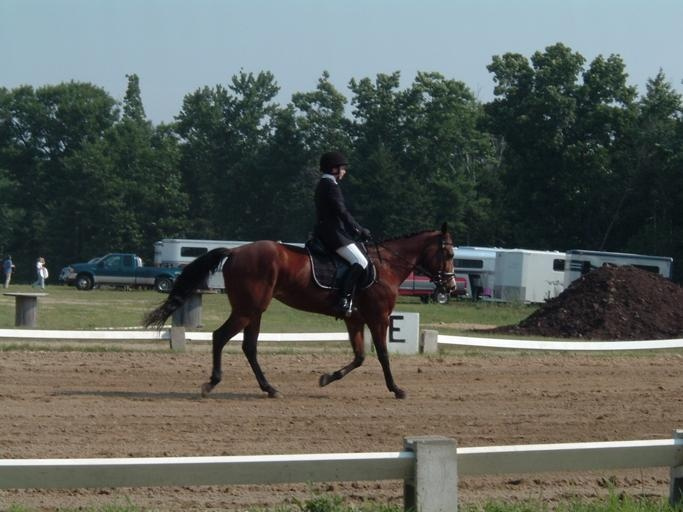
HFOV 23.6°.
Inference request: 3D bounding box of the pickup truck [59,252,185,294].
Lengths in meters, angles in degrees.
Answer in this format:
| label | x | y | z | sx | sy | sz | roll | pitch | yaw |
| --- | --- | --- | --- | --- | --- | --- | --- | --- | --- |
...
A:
| label | x | y | z | sx | sy | sz | roll | pitch | yaw |
| --- | --- | --- | --- | --- | --- | --- | --- | --- | --- |
| pickup truck | -16.928 | 1.548 | 124.006 | 9.826 | 3.261 | 4.289 | 4 | -5 | -6 |
